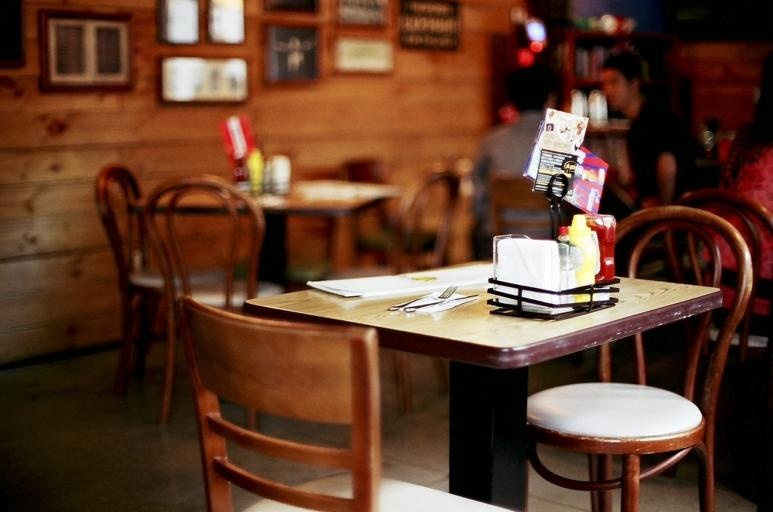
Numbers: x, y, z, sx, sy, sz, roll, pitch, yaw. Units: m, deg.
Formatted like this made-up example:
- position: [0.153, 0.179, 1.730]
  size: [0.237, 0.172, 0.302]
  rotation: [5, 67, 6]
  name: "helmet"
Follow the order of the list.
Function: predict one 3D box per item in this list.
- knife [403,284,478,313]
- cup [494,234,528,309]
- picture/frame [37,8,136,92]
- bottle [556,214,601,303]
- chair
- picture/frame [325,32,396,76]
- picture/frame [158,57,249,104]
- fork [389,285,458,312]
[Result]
- position: [0.148, 0.116, 1.714]
  size: [0.081, 0.026, 0.248]
  rotation: [8, 14, 40]
  name: "knife"
- position: [0.314, 0.036, 1.664]
  size: [0.091, 0.171, 0.150]
  rotation: [1, 11, 9]
  name: "cup"
- position: [-1.216, -0.830, 2.648]
  size: [0.394, 0.317, 0.052]
  rotation: [-5, 5, -39]
  name: "picture/frame"
- position: [0.500, -0.014, 1.671]
  size: [0.152, 0.177, 0.083]
  rotation: [-7, 12, -29]
  name: "bottle"
- position: [0.092, 0.293, 2.294]
  size: [1.413, 0.678, 0.871]
  rotation: [5, 9, 33]
  name: "chair"
- position: [-0.118, -1.137, 3.728]
  size: [0.027, 0.206, 0.468]
  rotation: [9, 14, 41]
  name: "picture/frame"
- position: [-0.825, -0.810, 3.030]
  size: [0.038, 0.215, 0.468]
  rotation: [8, 14, 40]
  name: "picture/frame"
- position: [0.103, 0.113, 1.718]
  size: [0.234, 0.027, 0.059]
  rotation: [-20, 20, -41]
  name: "fork"
